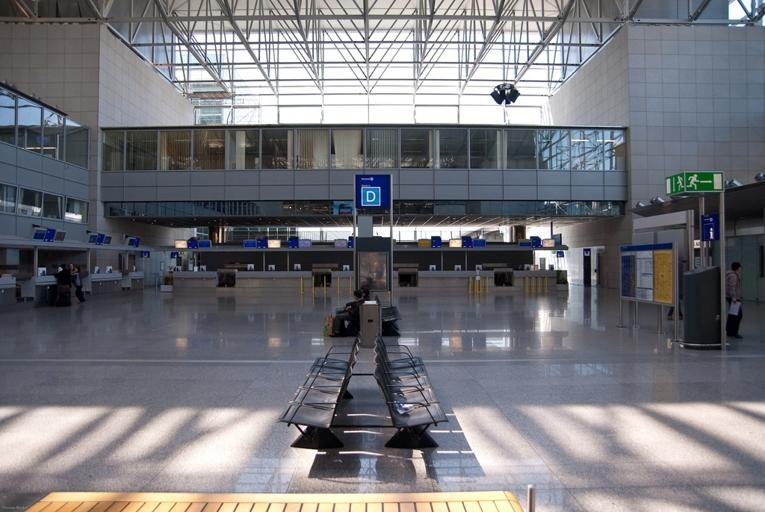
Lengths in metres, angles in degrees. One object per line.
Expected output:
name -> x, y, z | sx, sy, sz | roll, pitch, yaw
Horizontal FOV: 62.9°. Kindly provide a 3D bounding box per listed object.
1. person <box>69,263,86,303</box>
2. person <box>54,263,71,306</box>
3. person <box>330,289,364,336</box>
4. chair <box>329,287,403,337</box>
person -> -13.570, 1.270, 27.726 | 0.516, 1.548, 1.537 | 0, -6, -14
person -> -13.443, 1.265, 26.264 | 0.627, 1.548, 0.938 | -5, 11, -26
person -> -0.987, 1.623, 18.261 | 1.225, 1.417, 0.611 | 5, 11, 26
chair -> -0.608, 1.720, 18.379 | 1.603, 1.057, 1.572 | 0, -1, 2
